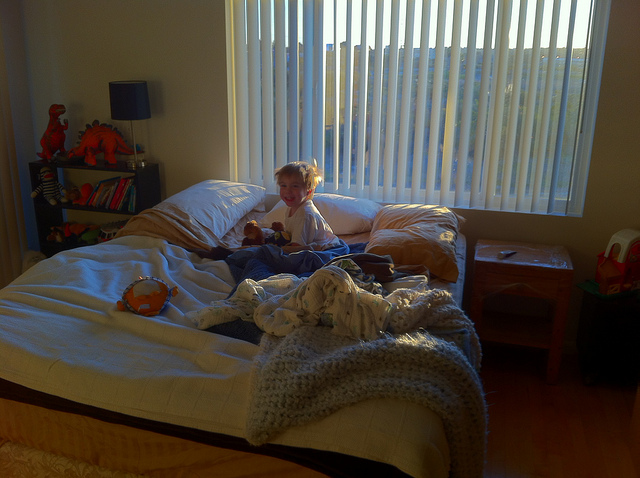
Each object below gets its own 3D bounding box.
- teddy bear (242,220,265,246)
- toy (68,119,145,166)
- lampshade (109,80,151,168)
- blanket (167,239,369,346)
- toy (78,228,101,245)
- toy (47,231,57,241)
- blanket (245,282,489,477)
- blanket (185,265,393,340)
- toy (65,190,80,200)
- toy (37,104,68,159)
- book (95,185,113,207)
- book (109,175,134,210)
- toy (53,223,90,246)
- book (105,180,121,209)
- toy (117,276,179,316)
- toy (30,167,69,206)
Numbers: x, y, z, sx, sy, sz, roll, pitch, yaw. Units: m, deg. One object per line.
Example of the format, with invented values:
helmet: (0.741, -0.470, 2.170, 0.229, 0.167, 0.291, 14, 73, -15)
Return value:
teddy bear: (-0.376, -0.036, 2.979, 0.132, 0.182, 0.130, 2, 4, -2)
toy: (-1.554, -0.703, 3.726, 0.533, 0.290, 0.184, -4, 20, -28)
lampshade: (-1.324, -0.820, 3.618, 0.247, 0.596, 0.315, 0, 16, -8)
blanket: (-0.227, 0.224, 2.558, 0.581, 0.070, 0.525, 9, 23, 25)
toy: (-1.701, -0.020, 3.784, 0.141, 0.122, 0.105, 3, 11, 0)
toy: (-2.010, -0.020, 3.822, 0.067, 0.065, 0.017, 9, -9, 0)
blanket: (0.187, 0.470, 1.871, 0.771, 0.353, 0.776, 1, 20, 7)
blanket: (-0.083, 0.274, 2.099, 0.507, 0.150, 0.427, 1, 11, 0)
toy: (-1.825, -0.328, 3.766, 0.070, 0.037, 0.071, 0, 37, 6)
toy: (-1.961, -0.788, 3.743, 0.215, 0.389, 0.258, -6, 17, -26)
book: (-1.548, -0.304, 3.664, 0.028, 0.119, 0.115, 15, 3, -14)
book: (-1.428, -0.334, 3.642, 0.055, 0.208, 0.207, 24, 13, 2)
toy: (-1.837, -0.028, 3.845, 0.348, 0.150, 0.112, 4, 9, 5)
book: (-1.482, -0.319, 3.643, 0.159, 0.161, 0.044, -5, -26, 45)
toy: (-0.763, 0.250, 2.247, 0.267, 0.171, 0.070, -16, 3, -33)
toy: (-1.985, -0.398, 3.741, 0.248, 0.268, 0.168, -17, 37, -32)
